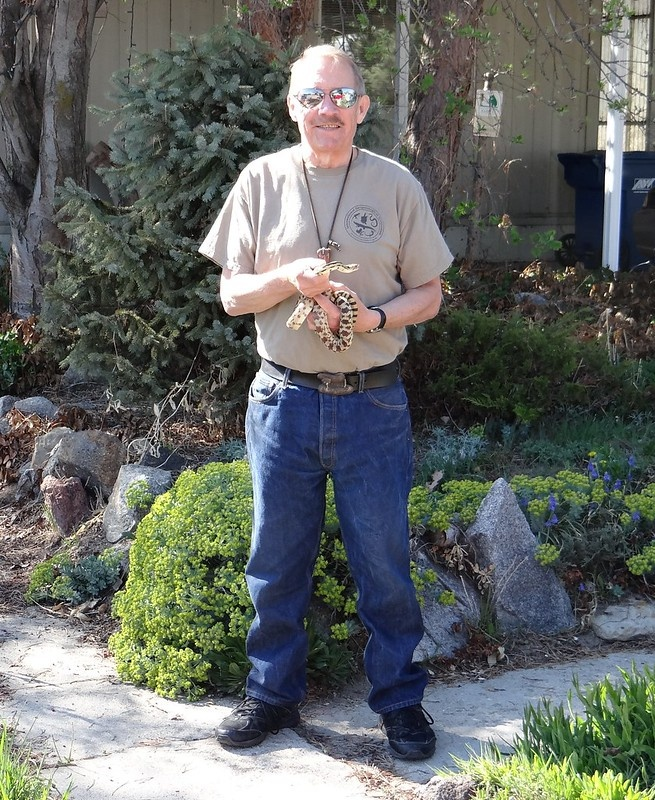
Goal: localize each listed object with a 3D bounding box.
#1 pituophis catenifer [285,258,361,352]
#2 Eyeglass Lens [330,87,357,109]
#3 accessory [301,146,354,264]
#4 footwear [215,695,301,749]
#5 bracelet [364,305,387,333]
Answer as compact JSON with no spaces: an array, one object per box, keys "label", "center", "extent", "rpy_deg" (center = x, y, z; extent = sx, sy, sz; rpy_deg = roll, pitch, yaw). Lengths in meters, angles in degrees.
[{"label":"pituophis catenifer","center":[-0.014,-0.270,2.784],"extent":[0.200,0.269,0.254],"rpy_deg":[1,11,2]},{"label":"Eyeglass Lens","center":[0.043,-0.882,2.777],"extent":[0.086,0.063,0.039],"rpy_deg":[-1,12,-10]},{"label":"accessory","center":[0.001,-0.591,2.862],"extent":[0.166,0.337,0.171],"rpy_deg":[0,12,-2]},{"label":"footwear","center":[-0.233,1.033,3.089],"extent":[0.142,0.133,0.348],"rpy_deg":[0,-4,34]},{"label":"bracelet","center":[0.138,-0.235,2.832],"extent":[0.028,0.067,0.069],"rpy_deg":[-10,18,-40]}]
